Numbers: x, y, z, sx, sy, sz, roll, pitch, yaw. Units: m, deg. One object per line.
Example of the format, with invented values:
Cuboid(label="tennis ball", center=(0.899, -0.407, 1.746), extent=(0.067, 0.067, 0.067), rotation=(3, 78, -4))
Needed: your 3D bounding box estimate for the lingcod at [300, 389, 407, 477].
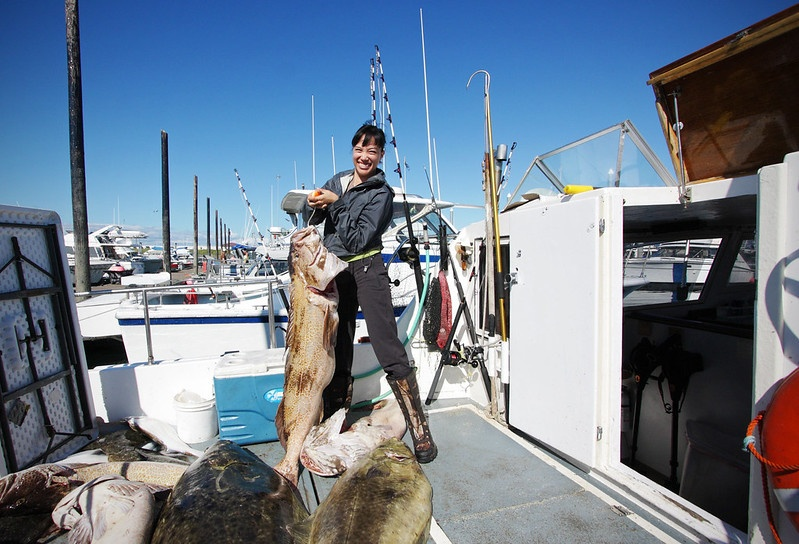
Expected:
Cuboid(label="lingcod", center=(-0.389, 1.371, 4.305), extent=(0.687, 0.306, 1.071), rotation=(17, 14, 38))

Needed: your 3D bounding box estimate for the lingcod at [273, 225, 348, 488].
Cuboid(label="lingcod", center=(-0.752, 0.744, 4.156), extent=(0.440, 2.252, 0.557), rotation=(12, 6, 39))

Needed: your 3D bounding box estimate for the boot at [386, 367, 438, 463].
Cuboid(label="boot", center=(0.063, 1.153, 4.344), extent=(0.407, 0.735, 0.490), rotation=(2, 8, -4))

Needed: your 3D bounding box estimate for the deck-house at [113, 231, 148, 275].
Cuboid(label="deck-house", center=(-15.050, -1.078, 28.317), extent=(2.318, 2.185, 4.990), rotation=(0, 2, -24))

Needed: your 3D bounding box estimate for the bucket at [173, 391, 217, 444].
Cuboid(label="bucket", center=(-1.881, 1.319, 4.715), extent=(0.397, 0.444, 0.405), rotation=(-2, -3, 0))
